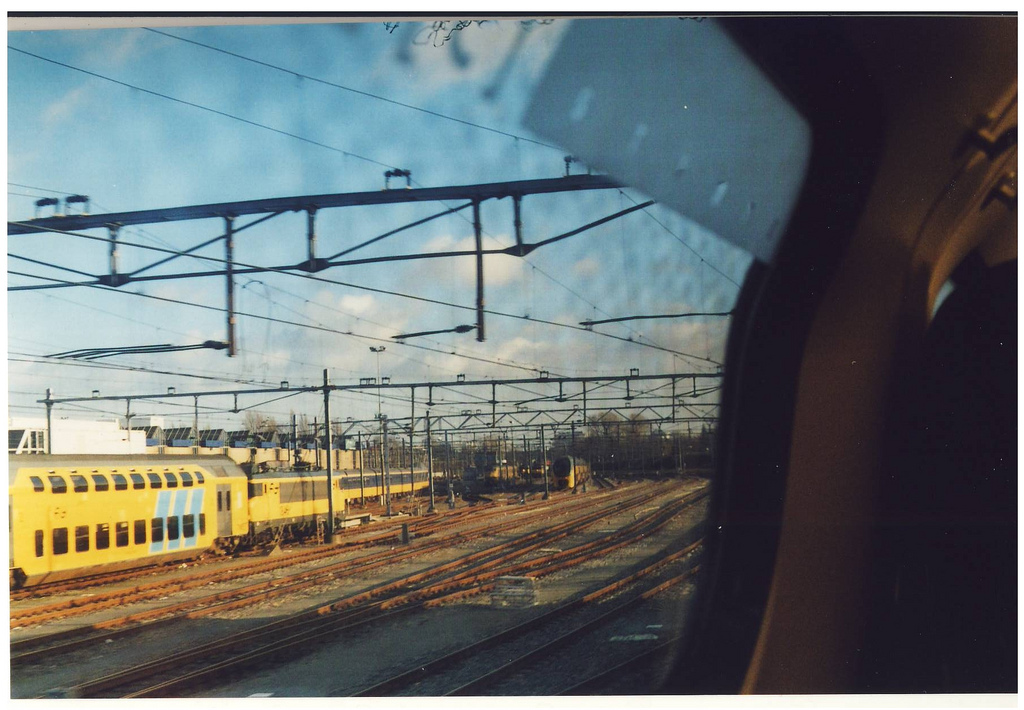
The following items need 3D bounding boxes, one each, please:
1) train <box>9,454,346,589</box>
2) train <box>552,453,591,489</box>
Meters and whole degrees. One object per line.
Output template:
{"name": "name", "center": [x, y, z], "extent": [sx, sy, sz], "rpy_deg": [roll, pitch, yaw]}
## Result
{"name": "train", "center": [-6.847, 3.082, 20.088], "extent": [1.571, 2.399, 10.578], "rpy_deg": [-4, -8, 25]}
{"name": "train", "center": [1.318, 2.841, 24.039], "extent": [0.404, 0.719, 2.012], "rpy_deg": [-7, -15, 8]}
